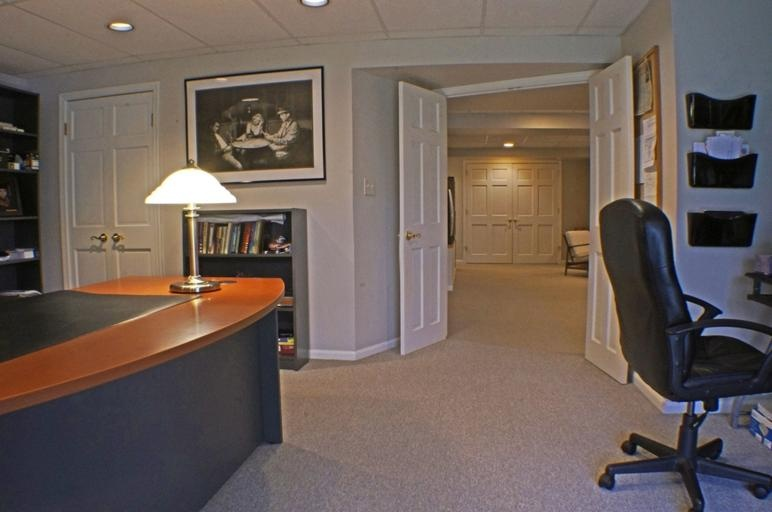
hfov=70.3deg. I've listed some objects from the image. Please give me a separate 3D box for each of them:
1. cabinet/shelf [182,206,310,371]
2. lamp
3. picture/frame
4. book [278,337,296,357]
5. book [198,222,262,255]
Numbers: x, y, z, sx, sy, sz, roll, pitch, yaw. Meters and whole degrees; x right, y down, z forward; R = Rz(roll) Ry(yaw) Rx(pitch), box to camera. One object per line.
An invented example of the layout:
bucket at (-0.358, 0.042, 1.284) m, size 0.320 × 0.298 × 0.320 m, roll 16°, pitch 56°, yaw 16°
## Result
cabinet/shelf at (-1.283, 0.063, 4.825) m, size 0.795 × 1.068 × 0.333 m, roll 1°, pitch -36°, yaw -25°
lamp at (-1.344, -0.193, 3.719) m, size 0.630 × 0.841 × 0.604 m, roll -3°, pitch 9°, yaw -25°
picture/frame at (-1.133, -1.200, 4.953) m, size 1.361 × 0.939 × 0.022 m, roll 1°, pitch 7°, yaw 13°
book at (-0.862, 0.771, 4.755) m, size 0.178 × 0.177 × 0.172 m, roll 0°, pitch -5°, yaw -3°
book at (-1.394, -0.172, 4.925) m, size 0.427 × 0.343 × 0.135 m, roll 5°, pitch 0°, yaw 6°
